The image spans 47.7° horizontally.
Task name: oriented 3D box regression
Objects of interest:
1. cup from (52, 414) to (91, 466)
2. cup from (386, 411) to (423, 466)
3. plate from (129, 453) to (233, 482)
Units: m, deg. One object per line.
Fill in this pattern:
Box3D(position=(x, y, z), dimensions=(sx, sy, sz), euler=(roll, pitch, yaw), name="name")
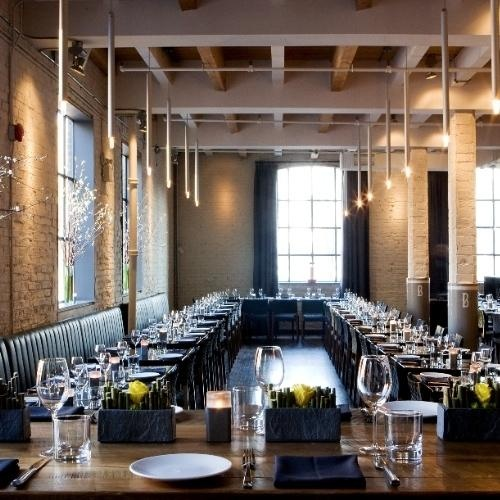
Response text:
Box3D(position=(-0.536, 0.570, 1.712), dimensions=(0.098, 0.163, 0.122), euler=(0, -5, -3), name="cup")
Box3D(position=(0.459, 0.555, 1.693), dimensions=(0.097, 0.168, 0.131), euler=(0, -4, 4), name="cup")
Box3D(position=(-0.192, 0.604, 1.573), dimensions=(0.278, 0.023, 0.179), euler=(1, -5, -12), name="plate")
